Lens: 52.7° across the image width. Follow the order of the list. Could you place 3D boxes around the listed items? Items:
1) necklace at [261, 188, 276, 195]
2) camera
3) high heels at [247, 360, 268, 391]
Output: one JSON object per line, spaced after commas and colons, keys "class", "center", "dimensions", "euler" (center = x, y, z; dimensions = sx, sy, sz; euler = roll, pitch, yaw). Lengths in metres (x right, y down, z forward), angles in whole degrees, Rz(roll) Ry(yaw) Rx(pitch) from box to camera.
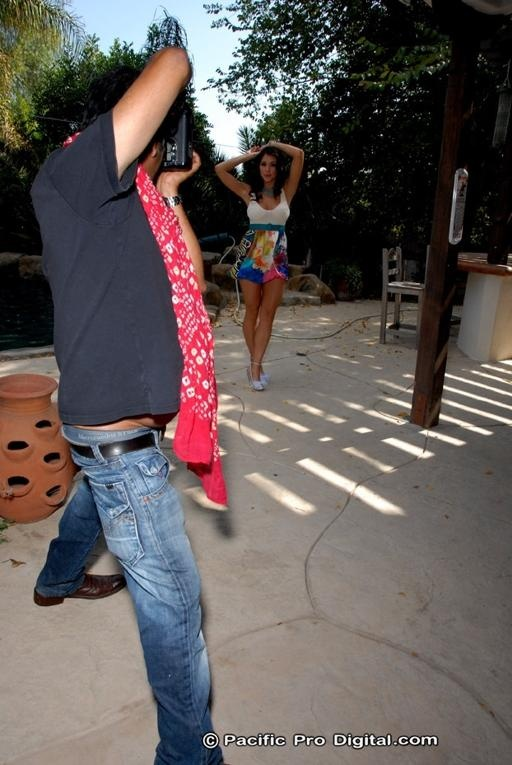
{"class": "necklace", "center": [0.112, -1.649, 4.510], "dimensions": [0.058, 0.040, 0.087], "euler": [-8, 7, -39]}
{"class": "camera", "center": [-0.245, -0.629, 1.303], "dimensions": [0.111, 0.156, 0.103], "euler": [9, 13, -5]}
{"class": "high heels", "center": [0.030, -0.030, 4.719], "dimensions": [0.108, 0.150, 0.342], "euler": [-1, 17, -13]}
